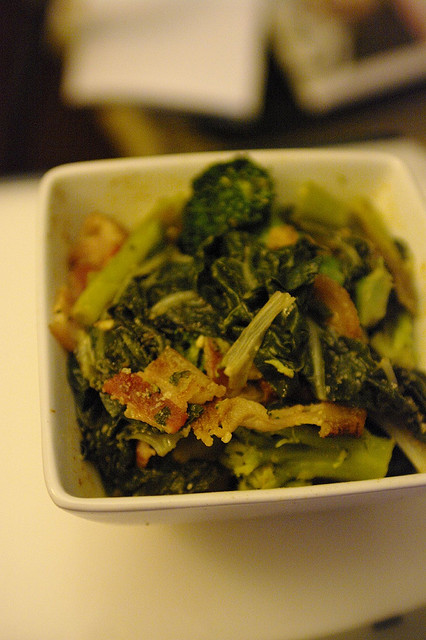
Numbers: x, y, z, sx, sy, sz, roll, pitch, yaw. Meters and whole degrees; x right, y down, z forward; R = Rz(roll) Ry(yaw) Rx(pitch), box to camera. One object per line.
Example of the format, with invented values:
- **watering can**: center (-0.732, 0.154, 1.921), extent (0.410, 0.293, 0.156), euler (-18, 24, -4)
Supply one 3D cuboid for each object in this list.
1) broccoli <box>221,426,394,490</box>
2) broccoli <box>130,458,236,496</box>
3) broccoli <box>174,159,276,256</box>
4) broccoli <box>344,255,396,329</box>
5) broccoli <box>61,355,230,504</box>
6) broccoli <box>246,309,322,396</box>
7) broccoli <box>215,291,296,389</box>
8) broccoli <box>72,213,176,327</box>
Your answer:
- **broccoli**: center (0.179, 0.262, 1.216), extent (0.361, 0.202, 0.117), euler (-1, 95, 19)
- **broccoli**: center (-0.048, 0.317, 1.141), extent (0.188, 0.025, 0.061), euler (-12, 58, -13)
- **broccoli**: center (0.016, -0.241, 1.259), extent (0.230, 0.150, 0.110), euler (-18, 69, -6)
- **broccoli**: center (0.340, -0.058, 1.275), extent (0.102, 0.061, 0.123), euler (-22, 69, -8)
- **broccoli**: center (-0.155, 0.248, 1.143), extent (0.250, 0.094, 0.297), euler (-1, 59, -20)
- **broccoli**: center (0.132, 0.025, 1.170), extent (0.116, 0.030, 0.115), euler (41, 82, 21)
- **broccoli**: center (0.077, 0.037, 1.198), extent (0.080, 0.077, 0.252), euler (38, 84, -17)
- **broccoli**: center (-0.183, -0.104, 1.302), extent (0.145, 0.073, 0.264), euler (21, 69, 12)
